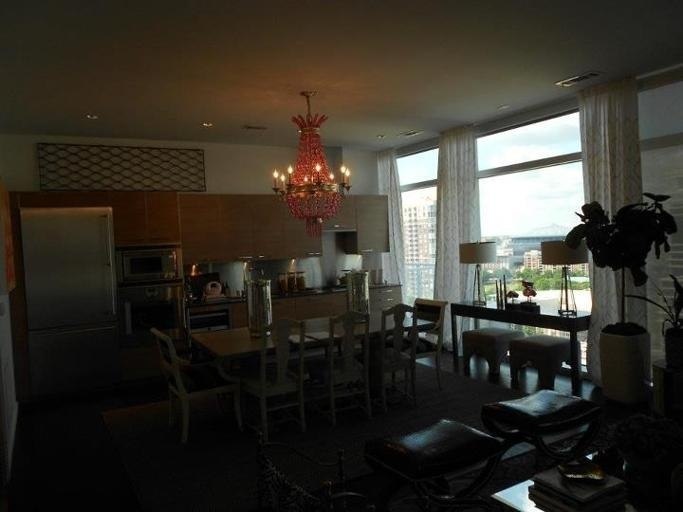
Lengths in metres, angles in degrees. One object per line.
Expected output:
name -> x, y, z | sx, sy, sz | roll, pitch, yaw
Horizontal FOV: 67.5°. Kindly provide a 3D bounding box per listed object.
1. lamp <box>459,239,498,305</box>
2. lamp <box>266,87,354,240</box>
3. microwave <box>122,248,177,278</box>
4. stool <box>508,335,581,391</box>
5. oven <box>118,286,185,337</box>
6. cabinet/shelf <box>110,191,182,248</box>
lamp -> 1.895, 0.230, 7.104 | 0.481, 0.854, 0.750 | -3, 2, 16
lamp -> -0.363, -1.081, 5.831 | 0.833, 1.634, 0.848 | -3, 7, -11
microwave -> -2.611, 0.107, 6.912 | 0.610, 0.410, 0.386 | -1, -1, -27
stool -> 2.451, 1.192, 6.291 | 0.618, 0.540, 0.615 | -8, 10, -37
oven -> -2.656, 0.671, 7.160 | 1.030, 0.905, 0.562 | -2, -1, -28
cabinet/shelf -> -2.704, -0.495, 6.918 | 0.733, 0.673, 0.268 | -2, 0, -23
